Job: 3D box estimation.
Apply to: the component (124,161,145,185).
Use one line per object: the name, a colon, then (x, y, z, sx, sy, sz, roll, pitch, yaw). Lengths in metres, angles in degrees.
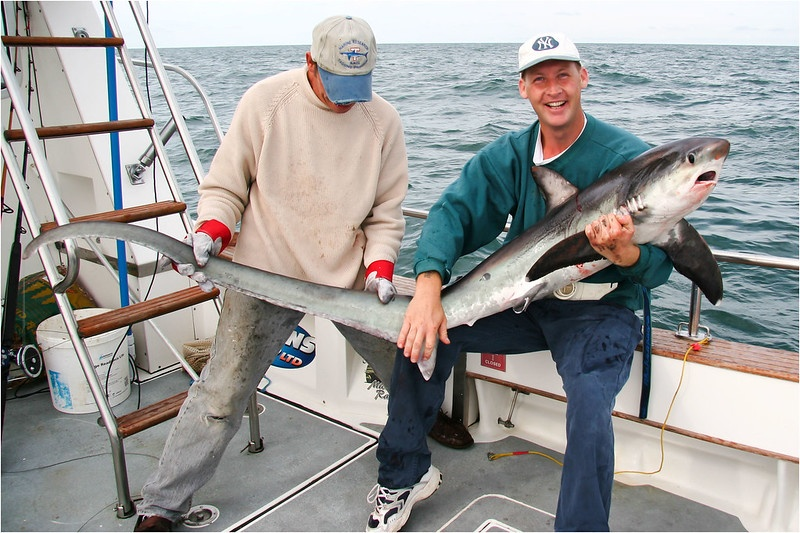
component: (-2.174, -0.755, 4.565, 0.143, 0.178, 0.060, 3, 1, -42)

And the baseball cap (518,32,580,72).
baseball cap: (0.855, -1.204, 3.171, 0.341, 0.215, 0.250, 5, 25, 8)

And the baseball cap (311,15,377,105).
baseball cap: (-0.275, -1.109, 2.896, 0.370, 0.285, 0.528, -4, 57, -18)

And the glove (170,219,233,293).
glove: (-1.016, -0.061, 2.942, 0.376, 0.124, 0.273, -20, 45, 26)

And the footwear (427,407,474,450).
footwear: (0.314, 1.136, 3.975, 0.206, 0.195, 0.534, -10, 7, -32)

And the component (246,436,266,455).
component: (-1.000, 1.239, 3.860, 0.116, 0.109, 0.106, -1, 3, -7)

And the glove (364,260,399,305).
glove: (-0.103, 0.076, 3.118, 0.154, 0.107, 0.254, 25, 29, -4)

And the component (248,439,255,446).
component: (-1.037, 1.218, 3.869, 0.039, 0.034, 0.037, 1, 2, 2)

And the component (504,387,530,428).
component: (0.792, 0.996, 3.888, 0.180, 0.312, 0.170, 7, -19, 23)

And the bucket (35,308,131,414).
bucket: (-2.506, 0.748, 4.439, 0.637, 0.616, 0.661, 3, 8, 0)
